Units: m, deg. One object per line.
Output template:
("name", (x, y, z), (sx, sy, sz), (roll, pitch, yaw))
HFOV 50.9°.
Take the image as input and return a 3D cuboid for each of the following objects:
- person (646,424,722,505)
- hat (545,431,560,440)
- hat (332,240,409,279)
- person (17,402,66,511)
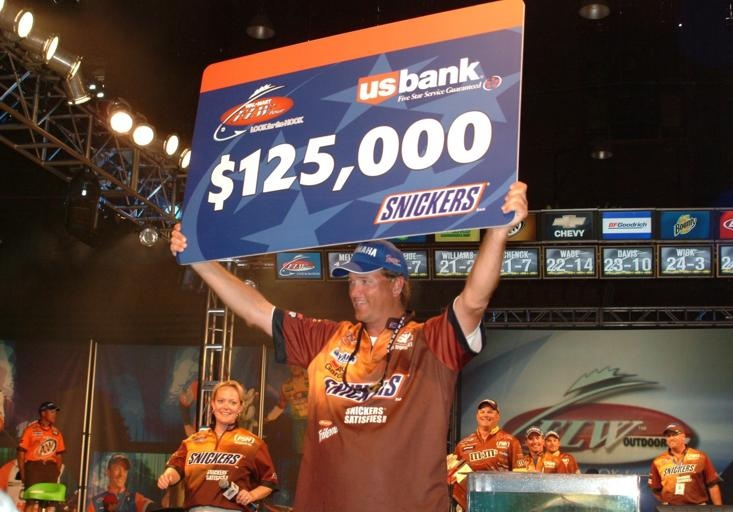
("person", (5.111, 3.375, 12.418), (1.018, 1.222, 0.426), (-1, -15, 21))
("hat", (3.235, 3.146, 13.482), (0.292, 0.154, 0.459), (2, -17, 8))
("hat", (0.042, 0.047, 6.505), (0.469, 0.259, 0.334), (10, -10, -17))
("person", (-5.165, 3.012, 12.256), (0.684, 1.315, 0.586), (11, -15, -24))
